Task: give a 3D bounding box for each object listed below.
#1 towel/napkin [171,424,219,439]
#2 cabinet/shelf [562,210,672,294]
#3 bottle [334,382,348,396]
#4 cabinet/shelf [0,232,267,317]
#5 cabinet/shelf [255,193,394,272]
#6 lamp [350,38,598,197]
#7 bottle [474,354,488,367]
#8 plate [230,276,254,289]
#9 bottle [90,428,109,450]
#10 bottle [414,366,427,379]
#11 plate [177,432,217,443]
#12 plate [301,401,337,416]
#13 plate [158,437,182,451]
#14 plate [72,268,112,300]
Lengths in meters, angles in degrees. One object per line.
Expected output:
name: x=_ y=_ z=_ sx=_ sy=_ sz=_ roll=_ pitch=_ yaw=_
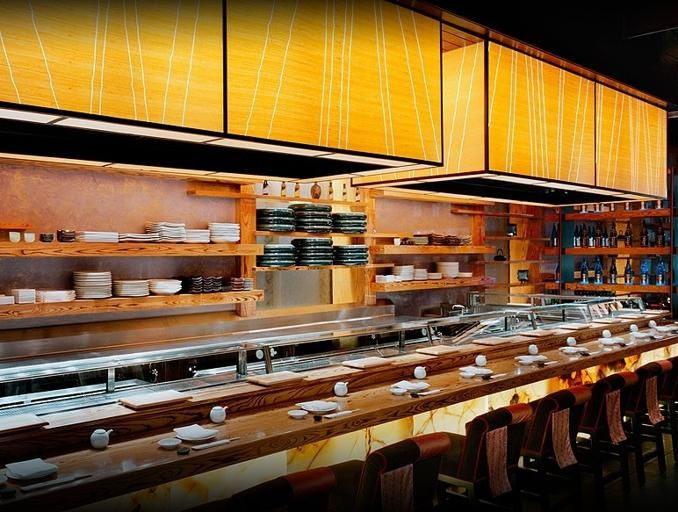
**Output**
towel/napkin: x=-0.716 y=0.862 z=2.384 sx=0.122 sy=0.025 sz=0.114 roll=2 pitch=0 yaw=41
cabinet/shelf: x=4.226 y=-0.074 z=7.391 sx=2.139 sy=1.163 sz=0.542 roll=1 pitch=-3 yaw=2
bottle: x=0.016 y=0.839 z=3.052 sx=0.095 sy=0.057 sz=0.098 roll=0 pitch=-14 yaw=0
cabinet/shelf: x=-1.938 y=0.183 z=4.673 sx=2.306 sy=0.618 sz=0.616 roll=0 pitch=-1 yaw=-38
cabinet/shelf: x=-0.270 y=-0.297 z=5.966 sx=1.279 sy=0.861 sz=1.361 roll=0 pitch=-1 yaw=3
lamp: x=1.051 y=-1.101 z=3.727 sx=0.567 sy=0.487 sz=1.897 roll=2 pitch=2 yaw=45
bottle: x=1.107 y=0.820 z=3.840 sx=0.142 sy=0.065 sz=0.113 roll=3 pitch=-2 yaw=4
plate: x=-1.010 y=0.273 z=5.122 sx=0.159 sy=0.089 sz=0.259 roll=-3 pitch=-3 yaw=43
bottle: x=-1.127 y=0.859 z=2.303 sx=0.076 sy=0.077 sz=0.104 roll=0 pitch=-1 yaw=-22
bottle: x=0.572 y=0.838 z=3.505 sx=0.125 sy=0.072 sz=0.092 roll=9 pitch=-13 yaw=-39
plate: x=-0.690 y=0.871 z=2.366 sx=0.185 sy=0.044 sz=0.081 roll=0 pitch=-1 yaw=-11
plate: x=-0.121 y=0.866 z=2.797 sx=0.097 sy=0.019 sz=0.104 roll=-1 pitch=-2 yaw=40
plate: x=-0.783 y=0.880 z=2.294 sx=0.067 sy=0.011 sz=0.065 roll=3 pitch=1 yaw=39
plate: x=-2.172 y=0.263 z=4.298 sx=0.353 sy=0.159 sz=0.279 roll=0 pitch=-1 yaw=-5
